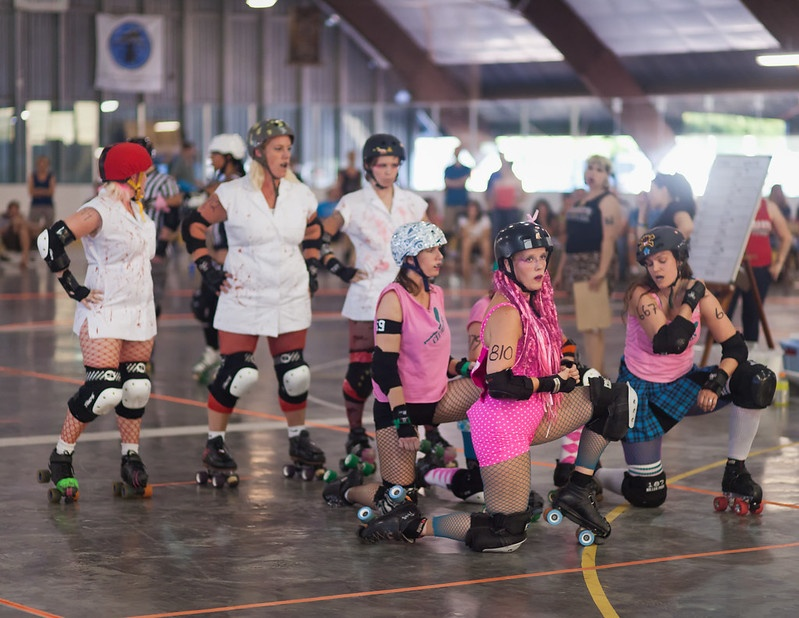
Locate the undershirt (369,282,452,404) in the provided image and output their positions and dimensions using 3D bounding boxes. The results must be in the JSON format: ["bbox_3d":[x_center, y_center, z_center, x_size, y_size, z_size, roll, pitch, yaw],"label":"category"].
[{"bbox_3d":[0.141,0.203,7.574,0.492,0.750,0.386,1,2,-30],"label":"undershirt"}]

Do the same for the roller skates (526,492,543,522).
[{"bbox_3d":[0.852,1.206,7.191,0.085,0.124,0.276,-1,-8,2],"label":"roller skates"}]

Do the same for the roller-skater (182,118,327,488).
[{"bbox_3d":[-0.997,-0.014,8.423,0.935,2.631,0.587,-3,12,-27],"label":"roller-skater"}]

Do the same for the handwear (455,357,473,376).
[{"bbox_3d":[0.432,0.371,7.591,0.102,0.090,0.083,-2,6,39],"label":"handwear"}]

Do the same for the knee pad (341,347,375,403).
[{"bbox_3d":[-0.319,0.516,8.763,0.197,0.544,0.168,6,-1,9],"label":"knee pad"}]

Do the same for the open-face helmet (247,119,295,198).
[{"bbox_3d":[-0.920,-1.073,8.274,0.347,0.492,0.298,1,9,44],"label":"open-face helmet"}]

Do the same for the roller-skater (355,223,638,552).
[{"bbox_3d":[0.693,0.506,7.036,1.759,1.878,0.764,-6,9,-21],"label":"roller-skater"}]

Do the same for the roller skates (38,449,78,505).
[{"bbox_3d":[-2.309,1.128,7.830,0.187,0.244,0.434,3,19,-31],"label":"roller skates"}]

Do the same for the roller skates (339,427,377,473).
[{"bbox_3d":[-0.274,1.017,8.747,0.147,0.309,0.476,-21,11,-21],"label":"roller skates"}]

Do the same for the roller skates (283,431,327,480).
[{"bbox_3d":[-0.685,1.050,8.342,0.336,0.400,0.239,0,-1,31],"label":"roller skates"}]

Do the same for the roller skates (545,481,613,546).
[{"bbox_3d":[1.119,1.176,7.066,0.391,0.342,0.214,30,31,-5],"label":"roller skates"}]

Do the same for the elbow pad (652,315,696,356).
[{"bbox_3d":[1.812,0.179,7.656,0.248,0.218,0.131,-16,7,-6],"label":"elbow pad"}]

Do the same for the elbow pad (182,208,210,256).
[{"bbox_3d":[-1.501,-0.531,8.359,0.108,0.305,0.226,26,32,23],"label":"elbow pad"}]

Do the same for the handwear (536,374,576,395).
[{"bbox_3d":[0.943,0.457,6.904,0.320,0.098,0.104,6,3,-44],"label":"handwear"}]

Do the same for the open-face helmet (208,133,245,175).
[{"bbox_3d":[-1.506,-1.318,10.045,0.324,0.343,0.254,-9,22,-7],"label":"open-face helmet"}]

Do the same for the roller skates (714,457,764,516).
[{"bbox_3d":[2.273,1.162,7.667,0.196,0.354,0.312,2,2,-31],"label":"roller skates"}]

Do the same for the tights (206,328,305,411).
[{"bbox_3d":[-1.138,0.474,8.955,0.637,0.684,0.259,1,1,-29],"label":"tights"}]

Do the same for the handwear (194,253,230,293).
[{"bbox_3d":[-1.365,-0.216,8.358,0.180,0.324,0.092,-32,-1,-28],"label":"handwear"}]

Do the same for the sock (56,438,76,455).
[{"bbox_3d":[-2.304,0.927,7.940,0.109,0.109,0.095,1,2,23],"label":"sock"}]

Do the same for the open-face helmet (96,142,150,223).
[{"bbox_3d":[-1.910,-0.886,8.031,0.375,0.548,0.331,-19,28,-40],"label":"open-face helmet"}]

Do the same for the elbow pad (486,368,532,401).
[{"bbox_3d":[0.660,0.436,6.809,0.212,0.161,0.165,0,-1,-21],"label":"elbow pad"}]

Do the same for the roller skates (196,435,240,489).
[{"bbox_3d":[-1.287,1.056,8.231,0.324,0.365,0.212,3,0,42],"label":"roller skates"}]

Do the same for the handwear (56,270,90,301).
[{"bbox_3d":[-2.202,-0.139,7.778,0.226,0.083,0.161,44,0,2],"label":"handwear"}]

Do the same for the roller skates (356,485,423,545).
[{"bbox_3d":[-0.029,1.264,7.154,0.340,0.347,0.157,22,2,12],"label":"roller skates"}]

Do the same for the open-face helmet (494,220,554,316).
[{"bbox_3d":[0.756,-0.289,7.058,0.325,0.496,0.311,-1,9,32],"label":"open-face helmet"}]

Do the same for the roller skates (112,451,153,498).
[{"bbox_3d":[-1.853,1.125,8.004,0.223,0.298,0.433,2,1,-26],"label":"roller skates"}]

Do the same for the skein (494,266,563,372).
[{"bbox_3d":[0.828,0.129,7.087,0.406,0.638,0.282,5,-11,-44],"label":"skein"}]

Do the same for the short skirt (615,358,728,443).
[{"bbox_3d":[1.771,0.596,7.735,0.682,0.357,0.475,-11,38,-11],"label":"short skirt"}]

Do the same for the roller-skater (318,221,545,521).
[{"bbox_3d":[0.207,0.409,7.555,1.321,1.934,0.972,-2,13,-8],"label":"roller-skater"}]

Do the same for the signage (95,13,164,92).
[{"bbox_3d":[-6.874,-6.366,29.284,1.777,2.292,0.192,-4,42,-19],"label":"signage"}]

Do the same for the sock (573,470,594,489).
[{"bbox_3d":[1.142,1.031,7.145,0.115,0.100,0.099,2,3,15],"label":"sock"}]

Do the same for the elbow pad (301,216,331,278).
[{"bbox_3d":[-0.641,-0.562,8.768,0.098,0.344,0.104,-37,-40,25],"label":"elbow pad"}]

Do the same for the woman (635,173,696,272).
[{"bbox_3d":[2.624,-0.697,11.147,0.440,1.110,0.751,-2,-1,-18],"label":"woman"}]

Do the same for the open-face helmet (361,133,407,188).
[{"bbox_3d":[-0.121,-1.117,8.741,0.313,0.342,0.338,1,6,-3],"label":"open-face helmet"}]

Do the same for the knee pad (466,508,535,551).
[{"bbox_3d":[0.581,1.304,6.901,0.307,0.210,0.238,3,1,12],"label":"knee pad"}]

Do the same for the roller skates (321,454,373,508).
[{"bbox_3d":[-0.396,1.128,7.767,0.359,0.181,0.211,-23,-22,28],"label":"roller skates"}]
